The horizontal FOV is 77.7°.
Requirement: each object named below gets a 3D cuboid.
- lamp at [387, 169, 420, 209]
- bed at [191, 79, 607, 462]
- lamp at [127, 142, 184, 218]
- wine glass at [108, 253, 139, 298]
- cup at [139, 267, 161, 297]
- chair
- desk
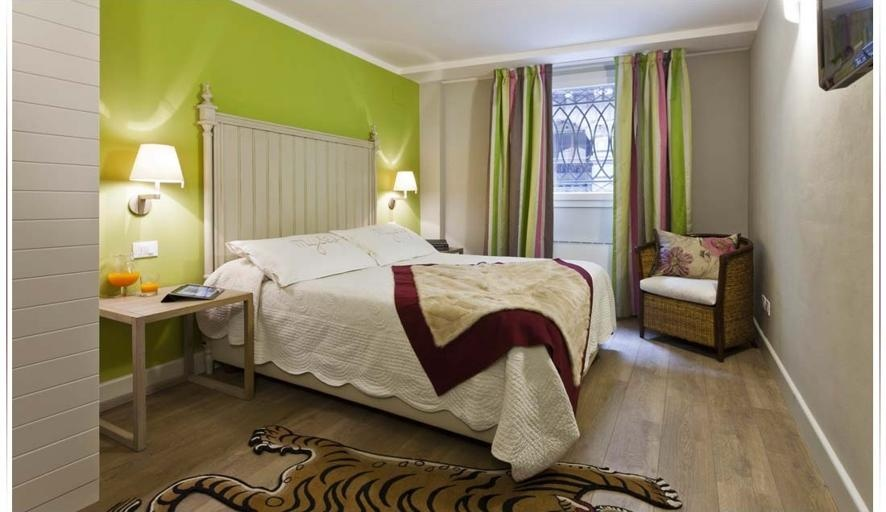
[{"bbox_3d":[-0.493,-0.812,6.687,0.368,0.413,0.303,-5,6,-11],"label":"lamp"},{"bbox_3d":[-0.213,0.111,5.094,3.284,2.409,2.729,3,8,27],"label":"bed"},{"bbox_3d":[-2.324,-0.598,4.407,0.446,0.515,0.394,-2,-1,35],"label":"lamp"},{"bbox_3d":[-2.456,0.155,4.212,0.188,0.301,0.190,-5,5,-9],"label":"wine glass"},{"bbox_3d":[-2.366,0.210,4.394,0.198,0.236,0.192,-1,1,0],"label":"cup"},{"bbox_3d":[2.507,0.324,5.397,0.813,1.037,0.918,-8,12,-33],"label":"chair"},{"bbox_3d":[-2.023,0.632,4.319,1.094,1.103,1.227,2,4,34],"label":"desk"}]
